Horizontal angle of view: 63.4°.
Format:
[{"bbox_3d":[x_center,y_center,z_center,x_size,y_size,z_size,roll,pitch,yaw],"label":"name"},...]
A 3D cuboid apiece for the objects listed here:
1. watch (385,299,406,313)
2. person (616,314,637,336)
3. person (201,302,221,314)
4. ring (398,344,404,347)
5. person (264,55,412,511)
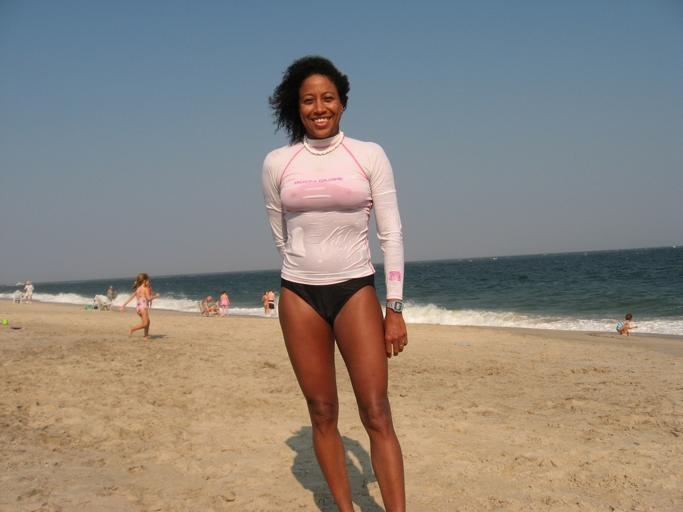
[{"bbox_3d":[0.389,0.355,3.919,0.121,0.076,0.106,10,-13,-19],"label":"watch"},{"bbox_3d":[11.073,2.686,21.423,0.740,0.368,0.912,-2,-37,6],"label":"person"},{"bbox_3d":[-6.992,2.723,29.438,0.776,0.764,1.190,1,-3,-19],"label":"person"},{"bbox_3d":[0.412,0.628,3.875,0.031,0.021,0.037,-1,-21,8],"label":"ring"},{"bbox_3d":[-0.066,0.200,3.975,1.057,3.340,0.528,0,-2,5],"label":"person"}]
